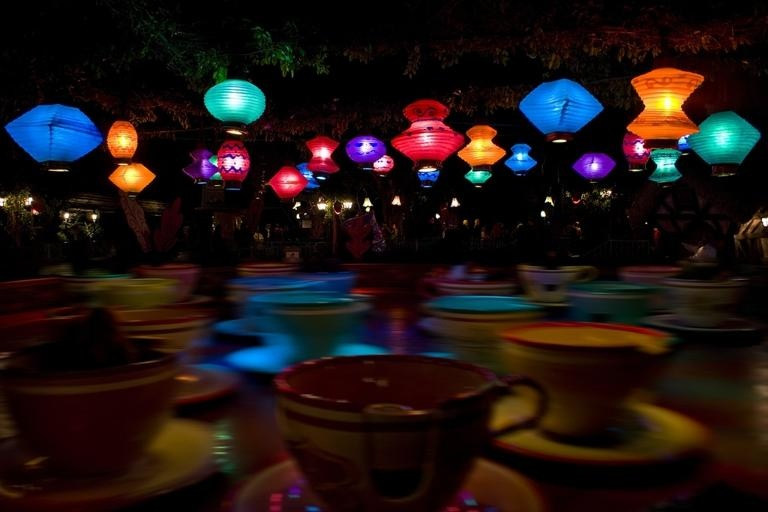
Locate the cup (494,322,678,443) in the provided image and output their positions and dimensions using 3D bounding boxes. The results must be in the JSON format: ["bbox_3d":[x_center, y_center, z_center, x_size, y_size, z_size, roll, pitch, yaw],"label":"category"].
[{"bbox_3d":[0.615,0.397,1.937,0.560,0.309,0.502,4,0,-20],"label":"cup"}]

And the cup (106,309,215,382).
[{"bbox_3d":[-0.774,0.290,2.127,0.305,0.152,0.290,1,-4,0],"label":"cup"}]

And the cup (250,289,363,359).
[{"bbox_3d":[-0.287,0.256,2.334,0.387,0.205,0.352,-2,8,0],"label":"cup"}]
